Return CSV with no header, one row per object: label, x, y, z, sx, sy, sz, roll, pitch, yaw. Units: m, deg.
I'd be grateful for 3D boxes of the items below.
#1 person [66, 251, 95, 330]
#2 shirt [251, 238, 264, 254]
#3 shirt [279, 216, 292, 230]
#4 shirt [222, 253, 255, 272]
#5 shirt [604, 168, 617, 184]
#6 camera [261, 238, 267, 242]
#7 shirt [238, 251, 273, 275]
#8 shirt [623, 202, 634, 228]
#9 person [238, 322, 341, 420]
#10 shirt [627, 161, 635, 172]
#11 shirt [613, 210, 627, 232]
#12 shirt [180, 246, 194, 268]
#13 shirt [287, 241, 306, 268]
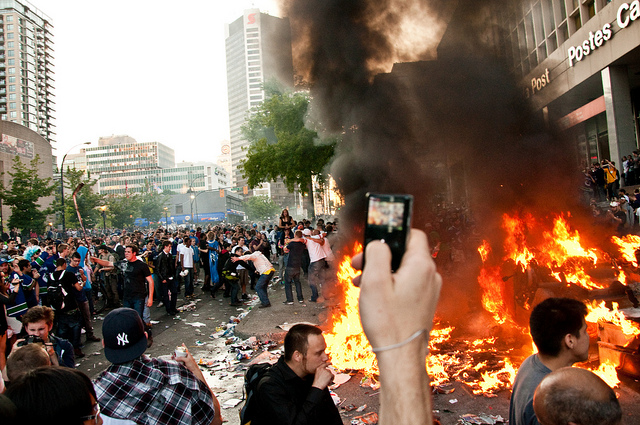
person,-5.839,2.039,11.095,0.472,1.482,1.815,-5,3,-27
shirt,-2.355,1.342,17.581,0.561,0.606,0.537,-5,22,-10
shirt,-1.392,0.438,19.249,0.441,0.490,0.513,3,0,-8
shirt,-2.534,1.546,13.662,0.568,0.633,0.341,22,3,4
shirt,10.568,-1.337,16.408,0.241,0.573,0.416,-5,3,-21
camera,-2.177,1.066,17.807,0.162,0.171,0.166,-2,0,45
shirt,-1.959,1.518,13.652,1.131,0.333,0.349,17,51,21
shirt,9.900,0.053,14.468,0.222,0.633,0.459,-2,-1,-1
person,-0.437,2.450,6.977,1.074,1.883,0.847,-4,41,8
shirt,11.446,-1.668,16.565,0.064,0.266,0.262,7,23,-7
shirt,9.513,0.261,14.273,0.330,0.614,0.629,-1,4,34
shirt,-4.254,1.420,14.547,0.323,0.646,0.641,-3,-5,22
shirt,-0.678,1.201,13.311,0.565,0.748,0.493,-4,3,-10
